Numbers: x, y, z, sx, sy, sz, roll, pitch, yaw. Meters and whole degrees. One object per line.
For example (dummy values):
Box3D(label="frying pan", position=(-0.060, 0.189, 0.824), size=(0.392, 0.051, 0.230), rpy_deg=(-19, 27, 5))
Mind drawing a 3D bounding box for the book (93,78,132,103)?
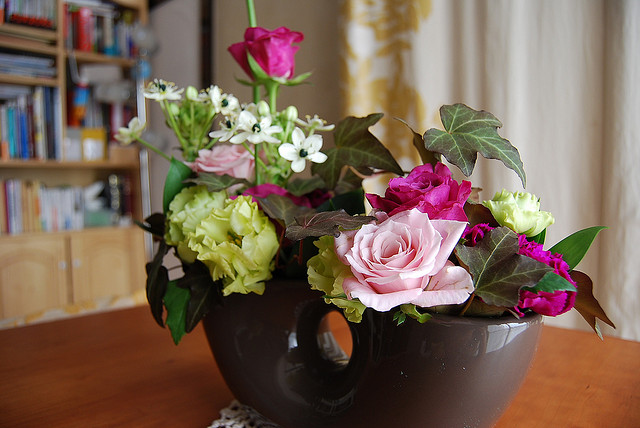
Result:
Box3D(label="book", position=(-0.968, -0.570, 2.271), size=(0.161, 0.096, 0.065), rpy_deg=(1, -20, 7))

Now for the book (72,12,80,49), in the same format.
Box3D(label="book", position=(-0.511, -0.378, 1.021), size=(0.018, 0.060, 0.083), rpy_deg=(-6, 11, -25))

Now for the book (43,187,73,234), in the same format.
Box3D(label="book", position=(-1.073, -0.019, 1.988), size=(0.129, 0.182, 0.176), rpy_deg=(-8, 7, -26))

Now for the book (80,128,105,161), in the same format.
Box3D(label="book", position=(-1.177, -0.325, 2.546), size=(0.127, 0.224, 0.127), rpy_deg=(-4, -27, -19))
